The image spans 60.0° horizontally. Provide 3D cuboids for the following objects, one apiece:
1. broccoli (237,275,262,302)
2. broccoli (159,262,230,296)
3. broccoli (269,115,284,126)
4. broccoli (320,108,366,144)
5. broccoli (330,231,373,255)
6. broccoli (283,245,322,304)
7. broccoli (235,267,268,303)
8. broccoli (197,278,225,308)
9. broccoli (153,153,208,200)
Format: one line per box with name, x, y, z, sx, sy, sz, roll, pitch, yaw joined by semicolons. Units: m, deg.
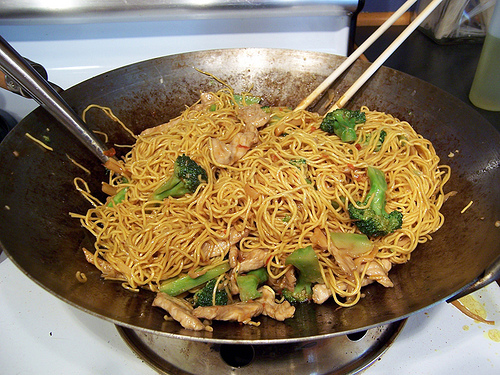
broccoli;-0.005;0.556;2.422;0.115;0.056;0.141;-15;76;-3
broccoli;-0.307;0.521;2.440;0.494;0.338;0.084;-2;105;0
broccoli;0.173;-0.452;2.903;0.060;0.021;0.077;16;47;42
broccoli;0.583;-0.401;2.702;0.280;0.086;0.233;-9;43;3
broccoli;0.567;0.315;2.439;0.241;0.067;0.115;6;76;2
broccoli;0.297;0.485;2.398;0.209;0.201;0.315;2;76;1
broccoli;0.000;0.548;2.454;0.132;0.047;0.184;26;37;2
broccoli;-0.210;0.594;2.404;0.126;0.053;0.172;32;78;8
broccoli;-0.404;-0.041;2.603;0.326;0.160;0.231;-26;46;-5
